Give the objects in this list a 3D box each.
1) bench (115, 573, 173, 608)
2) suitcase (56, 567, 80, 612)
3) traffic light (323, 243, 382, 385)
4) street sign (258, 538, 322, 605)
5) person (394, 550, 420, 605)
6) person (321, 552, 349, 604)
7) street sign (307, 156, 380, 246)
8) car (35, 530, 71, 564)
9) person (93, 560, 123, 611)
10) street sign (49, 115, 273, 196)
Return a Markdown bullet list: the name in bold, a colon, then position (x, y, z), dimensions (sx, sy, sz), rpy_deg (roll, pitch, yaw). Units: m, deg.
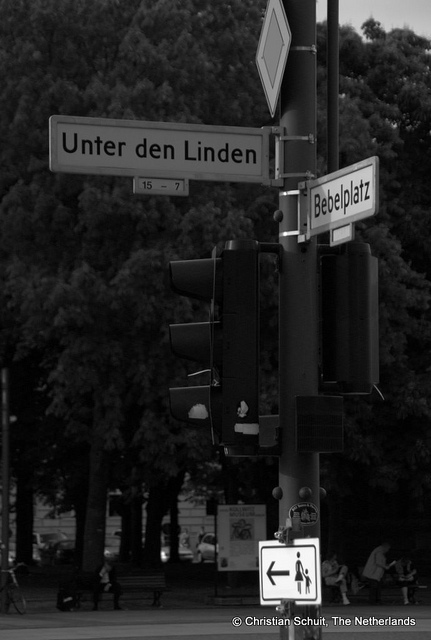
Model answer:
- **bench**: position (-1.322, 4.778, 29.252), dimensions (0.885, 0.632, 1.174), rpy_deg (-2, -1, -3)
- **suitcase**: position (-2.474, 4.538, 28.018), dimensions (0.410, 0.872, 0.454), rpy_deg (3, -3, 6)
- **traffic light**: position (0.946, -0.062, 11.488), dimensions (0.392, 0.982, 0.221), rpy_deg (-2, -1, 3)
- **street sign**: position (0.504, 1.674, 10.912), dimensions (0.386, 0.440, 0.020), rpy_deg (-5, -9, 35)
- **person**: position (3.418, 4.638, 29.197), dimensions (0.452, 0.848, 0.987), rpy_deg (-2, -1, 6)
- **person**: position (2.121, 4.574, 29.045), dimensions (0.436, 0.675, 1.482), rpy_deg (-2, -1, 4)
- **street sign**: position (0.876, -0.826, 11.394), dimensions (0.073, 0.596, 0.617), rpy_deg (23, -28, -40)
- **car**: position (-5.493, 7.680, 55.250), dimensions (0.833, 0.793, 1.503), rpy_deg (0, 5, -13)
- **person**: position (-1.862, 4.529, 28.140), dimensions (0.507, 0.859, 0.816), rpy_deg (-1, -1, -5)
- **street sign**: position (-0.400, -1.230, 12.051), dimensions (1.620, 0.605, 0.235), rpy_deg (-2, -1, -2)
